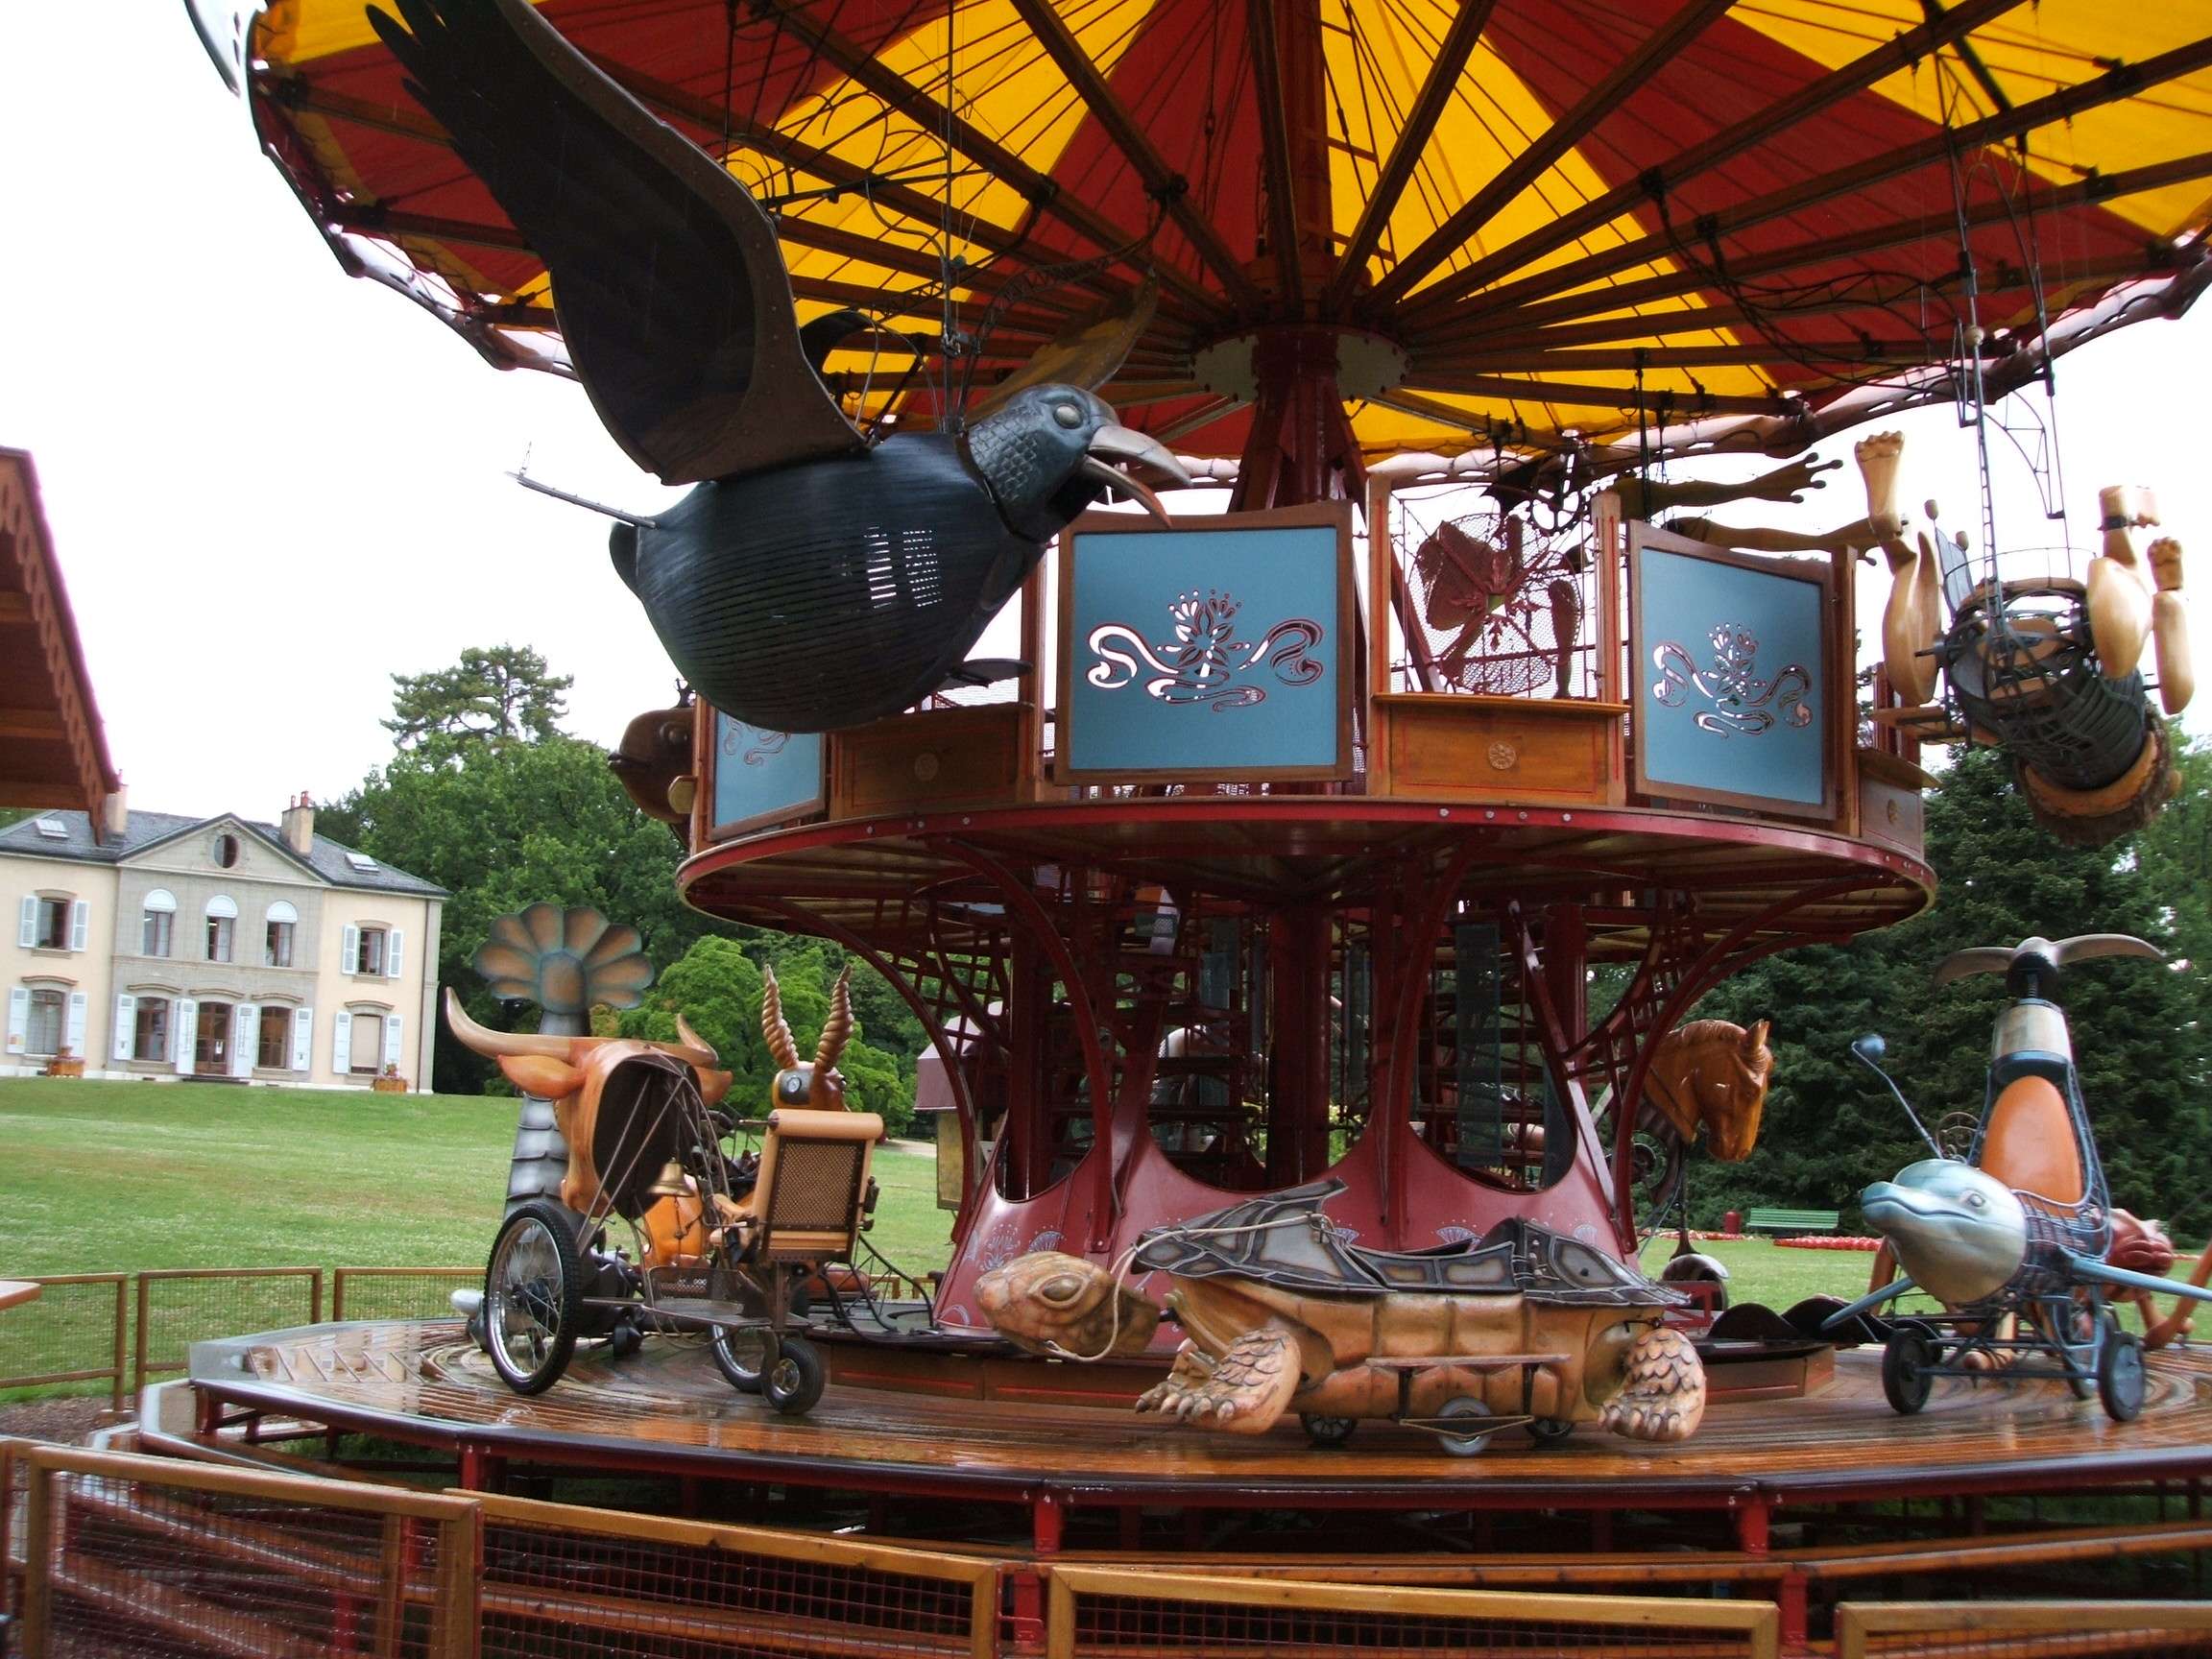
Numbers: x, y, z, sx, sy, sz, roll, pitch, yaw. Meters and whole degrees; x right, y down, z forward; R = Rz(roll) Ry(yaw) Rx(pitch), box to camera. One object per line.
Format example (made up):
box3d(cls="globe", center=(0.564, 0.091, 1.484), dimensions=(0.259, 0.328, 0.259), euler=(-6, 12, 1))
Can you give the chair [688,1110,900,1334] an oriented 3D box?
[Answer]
box3d(cls="chair", center=(-2.319, 2.742, 14.332), dimensions=(1.554, 1.248, 1.156), euler=(-28, -27, 32))
